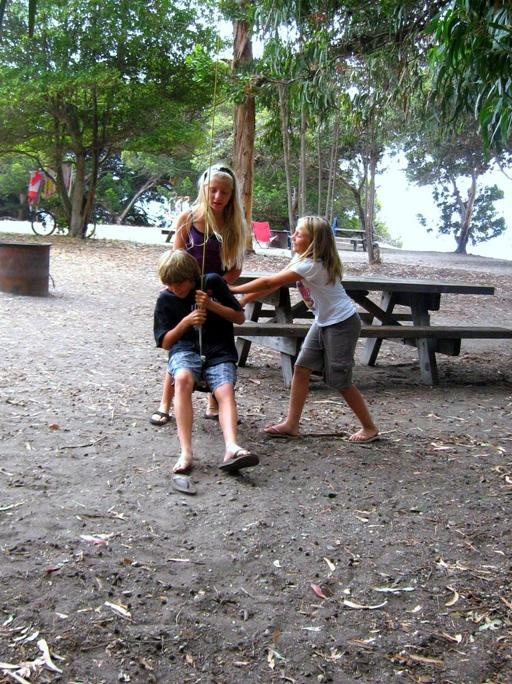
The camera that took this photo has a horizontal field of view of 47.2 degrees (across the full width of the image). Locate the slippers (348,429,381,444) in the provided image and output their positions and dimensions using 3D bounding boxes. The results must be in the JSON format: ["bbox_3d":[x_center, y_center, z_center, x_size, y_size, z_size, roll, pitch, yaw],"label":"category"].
[{"bbox_3d":[0.567,0.492,3.070,0.150,0.056,0.068,-2,1,-21],"label":"slippers"}]

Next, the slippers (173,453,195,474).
[{"bbox_3d":[-0.314,0.526,2.564,0.081,0.067,0.155,4,9,2],"label":"slippers"}]

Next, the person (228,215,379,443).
[{"bbox_3d":[0.292,-0.075,3.114,0.811,1.160,0.460,6,11,11],"label":"person"}]

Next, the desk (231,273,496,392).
[{"bbox_3d":[1.124,-0.232,5.089,1.546,0.552,1.270,-2,3,-35],"label":"desk"}]

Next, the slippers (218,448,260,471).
[{"bbox_3d":[-0.072,0.514,2.481,0.074,0.061,0.172,36,-45,-25],"label":"slippers"}]

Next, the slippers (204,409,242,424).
[{"bbox_3d":[-0.195,0.422,3.351,0.079,0.089,0.247,-3,9,-36],"label":"slippers"}]

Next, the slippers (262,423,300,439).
[{"bbox_3d":[0.128,0.466,3.103,0.148,0.040,0.079,4,1,19],"label":"slippers"}]

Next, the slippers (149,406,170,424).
[{"bbox_3d":[-0.525,0.405,3.224,0.096,0.064,0.232,0,2,-1],"label":"slippers"}]
